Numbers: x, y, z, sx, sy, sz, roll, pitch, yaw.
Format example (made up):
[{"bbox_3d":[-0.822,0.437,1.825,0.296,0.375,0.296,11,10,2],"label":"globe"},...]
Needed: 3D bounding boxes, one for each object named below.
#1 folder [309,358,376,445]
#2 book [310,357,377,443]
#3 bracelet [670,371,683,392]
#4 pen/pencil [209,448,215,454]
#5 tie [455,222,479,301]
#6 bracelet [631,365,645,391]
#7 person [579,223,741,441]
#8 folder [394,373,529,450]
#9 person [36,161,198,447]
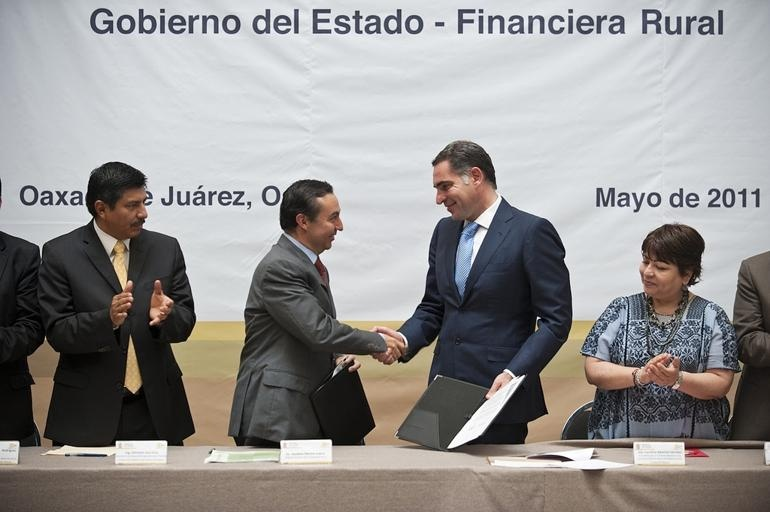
[{"bbox_3d":[-0.216,0.741,3.716,0.364,0.367,0.086,-37,26,-32],"label":"folder"},{"bbox_3d":[-0.205,0.744,3.739,0.360,0.361,0.085,-37,26,-32],"label":"book"},{"bbox_3d":[1.346,0.577,3.429,0.025,0.083,0.084,16,38,20],"label":"bracelet"},{"bbox_3d":[-0.797,0.889,3.395,0.016,0.017,0.026,-2,-9,3],"label":"pen/pencil"},{"bbox_3d":[0.437,0.004,3.832,0.137,0.555,0.075,12,-36,-9],"label":"tie"},{"bbox_3d":[1.176,0.576,3.477,0.034,0.087,0.078,2,20,10],"label":"bracelet"},{"bbox_3d":[1.350,0.614,3.660,0.721,1.455,0.689,1,7,14],"label":"person"},{"bbox_3d":[0.339,0.771,3.452,0.485,0.194,0.364,15,56,36],"label":"folder"},{"bbox_3d":[-1.333,0.251,3.754,0.804,1.477,0.415,6,-1,-25],"label":"person"}]
